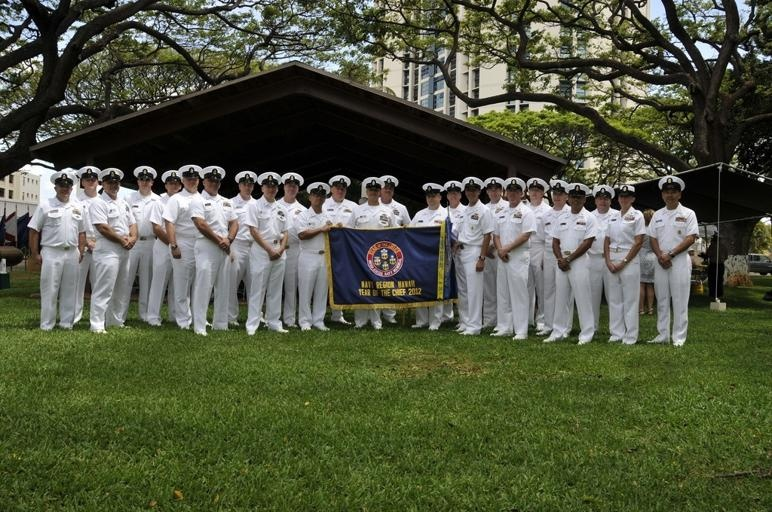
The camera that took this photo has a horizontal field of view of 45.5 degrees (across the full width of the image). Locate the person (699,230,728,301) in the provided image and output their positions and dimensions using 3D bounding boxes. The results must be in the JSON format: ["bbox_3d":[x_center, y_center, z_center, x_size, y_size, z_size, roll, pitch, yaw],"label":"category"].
[{"bbox_3d":[8.995,0.275,25.366,0.722,1.753,0.591,1,-2,-19],"label":"person"}]
